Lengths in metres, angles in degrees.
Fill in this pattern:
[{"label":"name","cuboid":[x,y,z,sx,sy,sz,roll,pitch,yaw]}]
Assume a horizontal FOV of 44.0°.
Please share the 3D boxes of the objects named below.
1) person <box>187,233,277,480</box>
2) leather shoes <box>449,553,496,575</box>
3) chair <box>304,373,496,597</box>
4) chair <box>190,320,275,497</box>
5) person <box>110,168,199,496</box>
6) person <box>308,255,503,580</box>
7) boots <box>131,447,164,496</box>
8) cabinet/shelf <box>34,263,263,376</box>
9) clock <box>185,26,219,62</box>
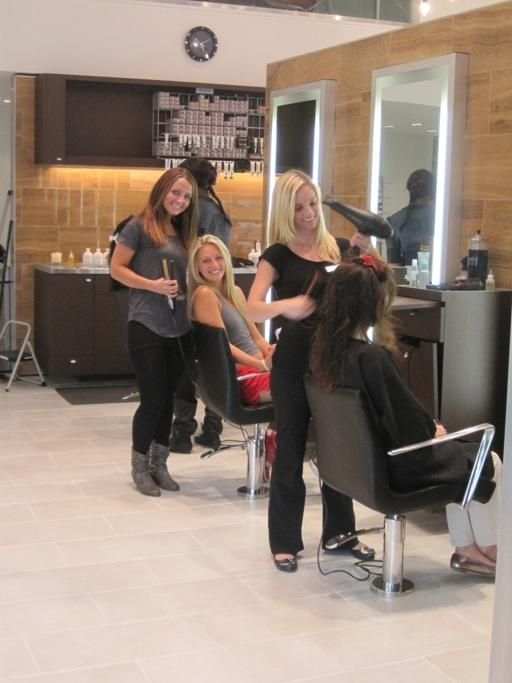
[{"label":"person","cuboid":[-0.039,0.089,3.208,0.661,1.193,0.401,1,12,22]},{"label":"leather shoes","cuboid":[0.795,0.829,2.360,0.188,0.066,0.060,2,-8,2]},{"label":"chair","cuboid":[0.462,0.523,2.227,0.669,0.646,0.631,-3,-7,7]},{"label":"chair","cuboid":[-0.011,0.368,3.094,0.521,0.727,0.488,3,-9,-10]},{"label":"person","cuboid":[-0.526,-0.039,3.181,0.431,1.647,0.352,1,6,-6]},{"label":"person","cuboid":[0.536,0.302,2.114,0.704,1.161,0.340,0,6,-14]},{"label":"boots","cuboid":[-0.568,0.670,3.258,0.113,0.201,0.288,-7,18,-24]},{"label":"cabinet/shelf","cuboid":[-1.213,-0.181,6.096,1.450,0.876,0.710,6,1,-17]},{"label":"clock","cuboid":[-0.535,-2.859,6.213,0.324,0.301,0.311,-24,18,-17]}]
